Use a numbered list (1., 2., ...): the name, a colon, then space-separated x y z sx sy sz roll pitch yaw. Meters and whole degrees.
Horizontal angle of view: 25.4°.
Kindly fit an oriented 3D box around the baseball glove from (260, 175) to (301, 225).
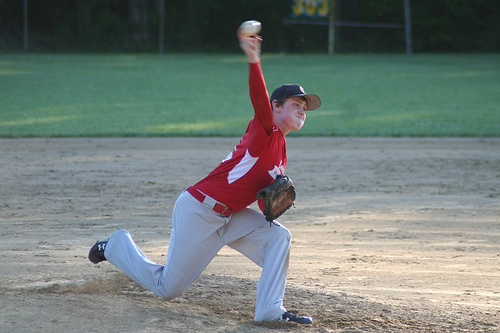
1. baseball glove: 0.319 0.359 12.484 0.350 0.587 0.375 0 0 2

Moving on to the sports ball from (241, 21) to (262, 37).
1. sports ball: 0.009 -1.530 12.135 0.205 0.172 0.236 2 8 -1
